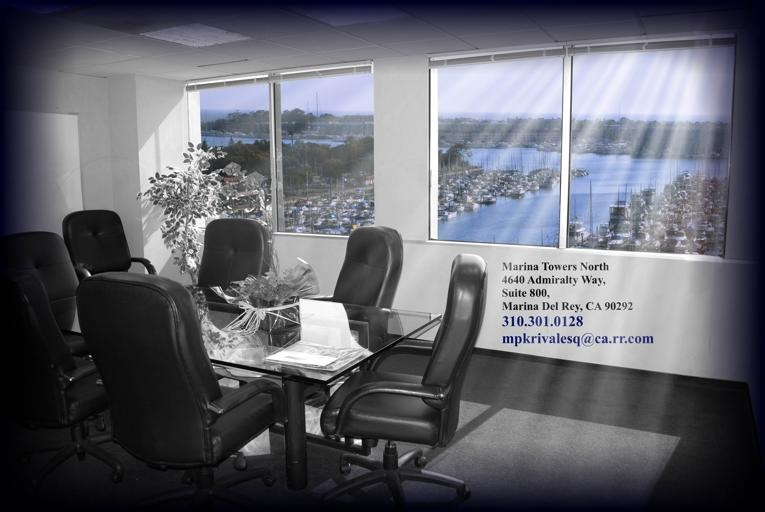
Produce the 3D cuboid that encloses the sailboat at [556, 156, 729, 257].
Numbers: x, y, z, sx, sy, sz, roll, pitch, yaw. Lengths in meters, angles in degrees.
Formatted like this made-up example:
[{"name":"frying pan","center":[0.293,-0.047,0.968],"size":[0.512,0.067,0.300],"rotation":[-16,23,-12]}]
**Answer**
[{"name":"sailboat","center":[2.659,-0.471,5.305],"size":[1.412,0.861,0.224],"rotation":[7,16,25]}]
